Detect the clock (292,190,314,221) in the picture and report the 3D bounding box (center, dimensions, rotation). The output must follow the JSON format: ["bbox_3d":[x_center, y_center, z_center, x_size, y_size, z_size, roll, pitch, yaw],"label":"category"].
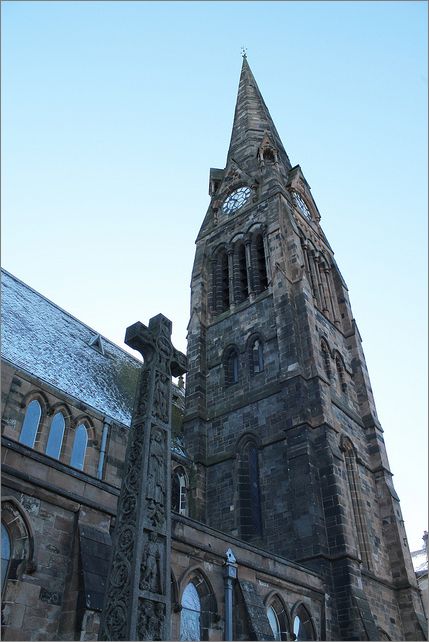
[{"bbox_3d":[5.363,-7.024,30.939,0.271,1.978,2.277,-20,-37,30],"label":"clock"}]
